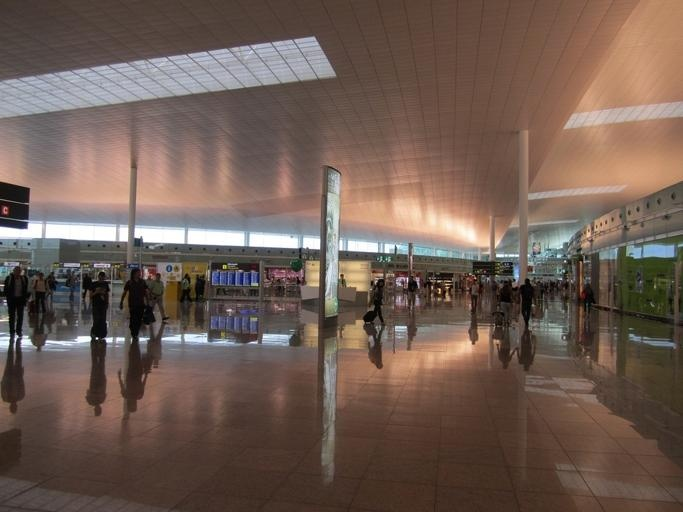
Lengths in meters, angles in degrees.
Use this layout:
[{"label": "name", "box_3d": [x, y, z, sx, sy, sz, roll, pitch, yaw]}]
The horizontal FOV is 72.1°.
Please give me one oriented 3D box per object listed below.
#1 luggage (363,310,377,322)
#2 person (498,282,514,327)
[{"label": "luggage", "box_3d": [0.984, 2.157, 16.697, 0.404, 0.409, 0.726, -4, -10, -13]}, {"label": "person", "box_3d": [5.566, 1.582, 15.798, 0.375, 1.477, 0.706, -1, -2, 19]}]
